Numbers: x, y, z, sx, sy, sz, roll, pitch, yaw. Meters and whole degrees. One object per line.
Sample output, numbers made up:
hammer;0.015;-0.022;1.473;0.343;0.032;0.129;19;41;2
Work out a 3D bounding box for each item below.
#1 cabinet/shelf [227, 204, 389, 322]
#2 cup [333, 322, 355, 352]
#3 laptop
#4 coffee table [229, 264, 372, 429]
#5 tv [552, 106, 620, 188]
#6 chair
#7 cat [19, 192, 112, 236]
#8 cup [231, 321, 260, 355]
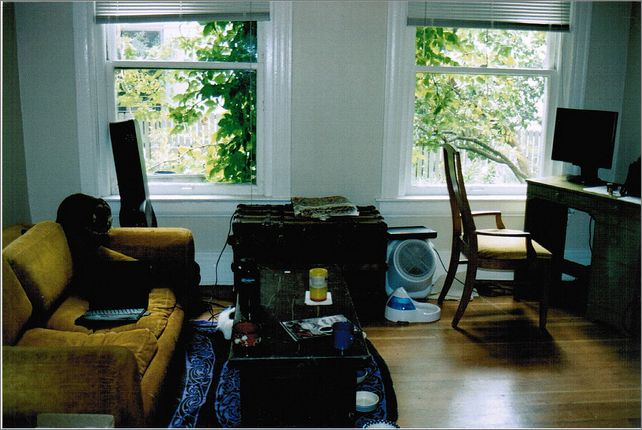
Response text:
cabinet/shelf;-0.070;0.119;4.367;1.260;0.814;0.793;0;13;-1
cup;0.115;0.620;2.944;0.148;0.178;0.133;1;5;4
laptop;-1.224;0.456;3.389;0.405;0.314;0.282;3;0;-2
coffee table;-0.118;0.695;3.317;0.609;0.427;0.908;0;22;-1
tv;2.040;-0.530;4.383;0.254;0.700;0.641;-2;9;-35
chair;1.310;0.138;4.183;0.920;1.171;0.786;-7;15;-26
cat;-1.443;0.004;3.460;0.302;0.224;0.299;8;-10;-29
cup;-0.387;0.639;2.996;0.174;0.111;0.167;1;11;0
